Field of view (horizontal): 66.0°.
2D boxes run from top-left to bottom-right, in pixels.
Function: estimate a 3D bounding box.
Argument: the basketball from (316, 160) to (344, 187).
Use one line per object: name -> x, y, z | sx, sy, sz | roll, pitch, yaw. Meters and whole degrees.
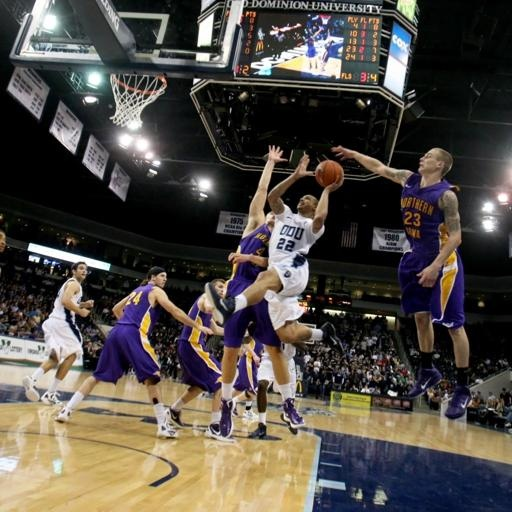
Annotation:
basketball -> 0.735, -0.833, 4.039 | 0.258, 0.292, 0.275 | 6, -6, 3
